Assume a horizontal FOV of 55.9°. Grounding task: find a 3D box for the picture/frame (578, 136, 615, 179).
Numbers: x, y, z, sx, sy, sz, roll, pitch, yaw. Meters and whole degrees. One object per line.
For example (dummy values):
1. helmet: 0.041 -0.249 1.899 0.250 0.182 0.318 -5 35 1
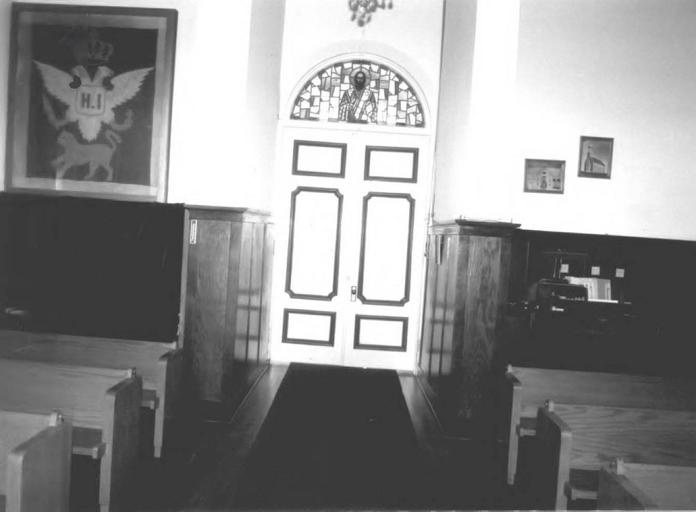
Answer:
1. picture/frame: 2.101 -0.853 5.616 0.281 0.386 0.044 12 45 26
